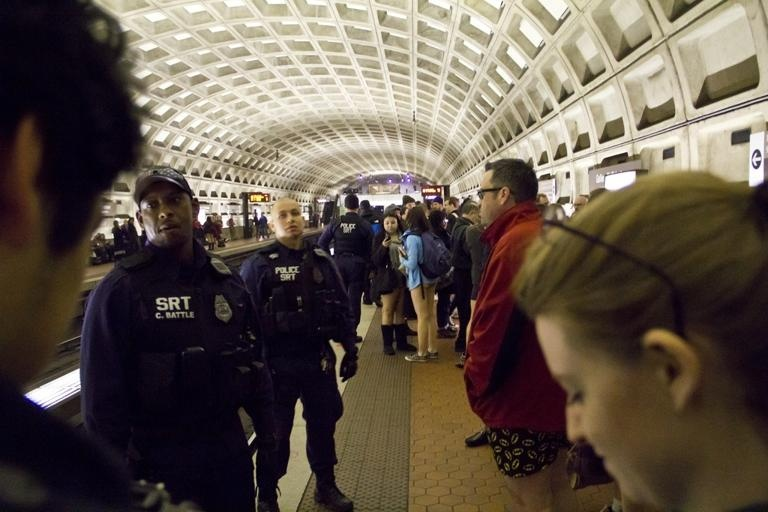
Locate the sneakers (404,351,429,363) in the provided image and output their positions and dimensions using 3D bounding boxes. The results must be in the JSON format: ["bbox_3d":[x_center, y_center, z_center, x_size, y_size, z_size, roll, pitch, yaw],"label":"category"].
[{"bbox_3d":[0.490,1.518,7.308,0.357,0.140,0.150,3,-2,4],"label":"sneakers"}]

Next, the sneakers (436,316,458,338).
[{"bbox_3d":[1.138,1.292,8.821,0.587,0.269,0.199,-1,11,22],"label":"sneakers"}]

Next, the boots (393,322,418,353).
[{"bbox_3d":[0.300,1.324,7.812,0.509,0.524,0.279,-3,6,-8],"label":"boots"}]
